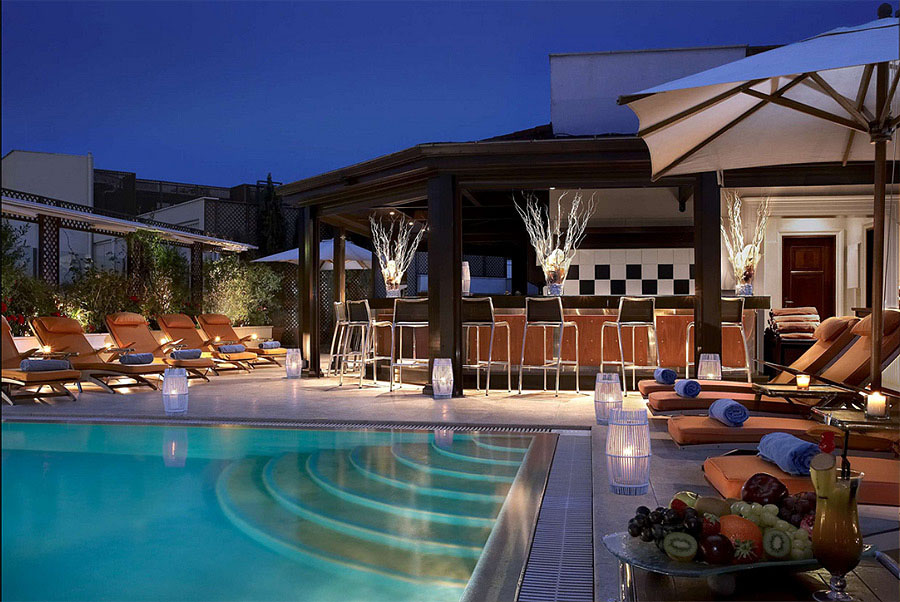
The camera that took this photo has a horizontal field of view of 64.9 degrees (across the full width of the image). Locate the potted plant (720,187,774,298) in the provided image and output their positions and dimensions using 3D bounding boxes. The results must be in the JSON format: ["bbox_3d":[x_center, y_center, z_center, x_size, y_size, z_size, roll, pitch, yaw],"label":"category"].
[{"bbox_3d":[4.504,-0.689,10.813,0.816,1.281,0.597,3,-12,11],"label":"potted plant"}]

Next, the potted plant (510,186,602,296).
[{"bbox_3d":[1.809,-1.301,12.711,1.147,2.374,1.162,0,2,10],"label":"potted plant"}]

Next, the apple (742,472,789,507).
[{"bbox_3d":[1.566,0.947,3.540,0.158,0.152,0.158,-1,-17,-8],"label":"apple"}]

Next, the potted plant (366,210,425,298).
[{"bbox_3d":[-1.145,-1.018,13.384,0.968,1.935,0.966,1,1,10],"label":"potted plant"}]

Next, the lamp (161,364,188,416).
[{"bbox_3d":[-2.900,0.942,7.405,0.226,0.479,0.287,0,-1,-28],"label":"lamp"}]

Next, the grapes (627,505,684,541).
[{"bbox_3d":[0.969,1.045,3.356,0.202,0.154,0.103,-9,-47,1],"label":"grapes"}]

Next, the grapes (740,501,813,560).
[{"bbox_3d":[1.529,1.079,3.357,0.325,0.179,0.144,44,-6,44],"label":"grapes"}]

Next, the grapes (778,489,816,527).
[{"bbox_3d":[1.677,0.997,3.390,0.173,0.127,0.080,-8,-32,-48],"label":"grapes"}]

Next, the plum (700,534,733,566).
[{"bbox_3d":[1.232,1.154,3.268,0.120,0.146,0.123,-1,-10,6],"label":"plum"}]

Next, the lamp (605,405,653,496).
[{"bbox_3d":[1.160,0.977,4.612,0.294,0.534,0.223,0,-1,4],"label":"lamp"}]

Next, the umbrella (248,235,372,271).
[{"bbox_3d":[-2.916,-1.087,16.781,4.120,0.915,1.216,1,1,-2],"label":"umbrella"}]
